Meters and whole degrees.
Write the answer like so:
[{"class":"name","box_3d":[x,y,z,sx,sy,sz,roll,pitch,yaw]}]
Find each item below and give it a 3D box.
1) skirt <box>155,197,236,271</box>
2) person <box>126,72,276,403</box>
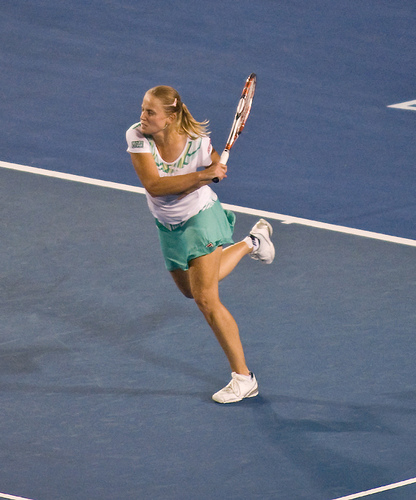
[{"class":"skirt","box_3d":[-0.021,-0.108,4.420,0.483,0.425,0.560,3,-7,-19]},{"class":"person","box_3d":[-0.027,-0.092,4.352,0.806,1.790,1.342,-1,31,4]}]
